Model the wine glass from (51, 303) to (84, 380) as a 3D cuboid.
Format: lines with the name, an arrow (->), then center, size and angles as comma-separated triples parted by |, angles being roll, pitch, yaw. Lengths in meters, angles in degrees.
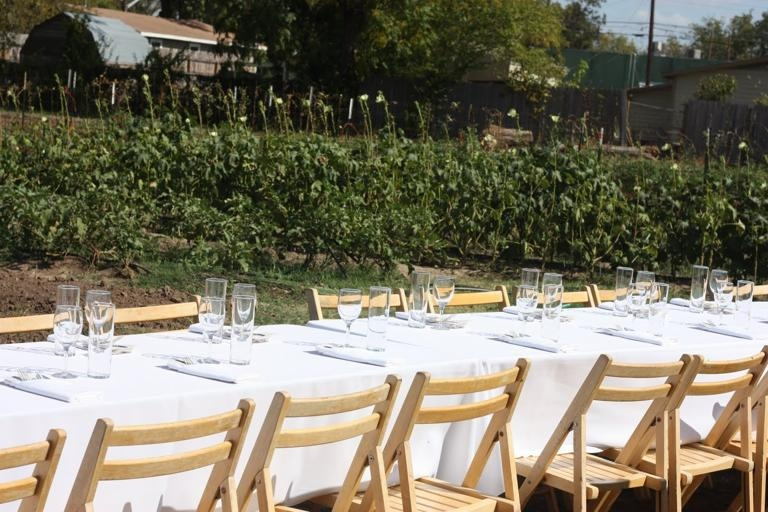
wine glass -> -2.677, 0.704, 9.876 | 0.229, 0.600, 0.350 | -1, 3, -17

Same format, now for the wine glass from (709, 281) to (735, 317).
wine glass -> 3.329, 0.395, 11.528 | 0.235, 0.545, 0.302 | 0, 0, -1

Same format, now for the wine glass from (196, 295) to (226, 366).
wine glass -> -1.493, 0.621, 10.145 | 0.217, 0.563, 0.335 | 0, 3, -3

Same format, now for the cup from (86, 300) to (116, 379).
cup -> -2.392, 0.693, 9.825 | 0.221, 0.641, 0.187 | -1, 3, -18
